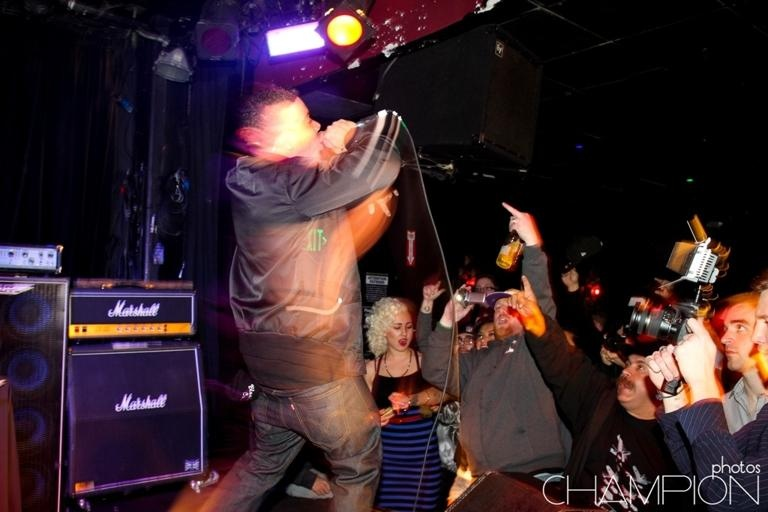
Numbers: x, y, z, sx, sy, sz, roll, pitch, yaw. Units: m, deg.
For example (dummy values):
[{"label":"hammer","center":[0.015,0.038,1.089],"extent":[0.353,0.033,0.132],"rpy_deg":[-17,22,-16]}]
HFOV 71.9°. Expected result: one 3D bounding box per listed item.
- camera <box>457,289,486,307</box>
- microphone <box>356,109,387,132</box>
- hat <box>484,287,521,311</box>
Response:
[{"label":"camera","center":[0.579,0.300,3.580],"extent":[0.161,0.059,0.120],"rpy_deg":[4,25,7]},{"label":"microphone","center":[-0.070,-0.702,2.784],"extent":[0.155,0.119,0.231],"rpy_deg":[0,5,-19]},{"label":"hat","center":[0.753,0.263,3.442],"extent":[0.208,0.202,0.128],"rpy_deg":[9,-25,7]}]
